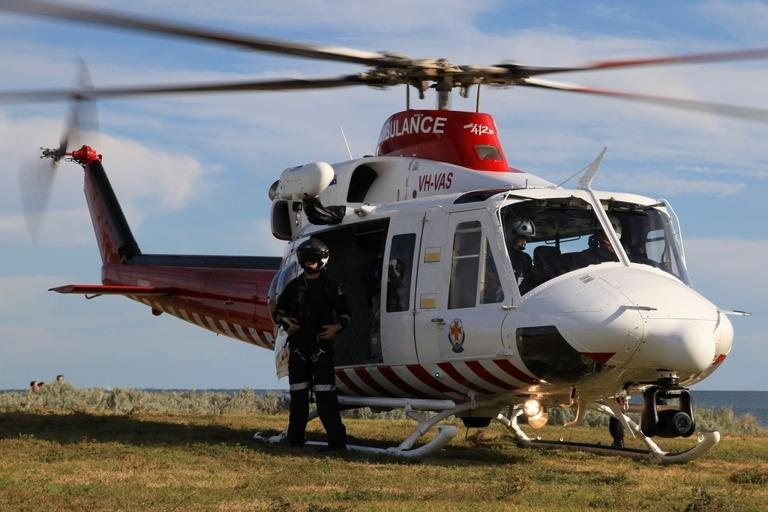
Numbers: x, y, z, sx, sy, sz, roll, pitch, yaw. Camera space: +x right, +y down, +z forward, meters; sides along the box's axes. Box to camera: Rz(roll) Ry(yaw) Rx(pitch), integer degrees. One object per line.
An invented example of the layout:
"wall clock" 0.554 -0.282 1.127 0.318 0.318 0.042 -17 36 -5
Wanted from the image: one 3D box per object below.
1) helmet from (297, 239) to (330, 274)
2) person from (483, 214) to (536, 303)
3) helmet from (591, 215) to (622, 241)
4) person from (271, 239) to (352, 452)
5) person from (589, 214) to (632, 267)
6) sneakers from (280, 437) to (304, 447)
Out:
"helmet" -1.096 0.011 18.299 0.447 0.513 0.327 0 3 -9
"person" 1.887 0.052 17.522 0.738 1.211 0.498 0 4 -8
"helmet" 3.304 -0.412 17.998 0.471 0.363 0.494 -2 -13 15
"person" -1.110 1.351 18.279 1.165 3.193 0.494 1 4 10
"person" 3.369 -0.267 17.850 0.497 0.730 0.681 1 3 8
"sneakers" -1.445 2.907 18.627 0.207 0.052 0.251 2 -2 -34
